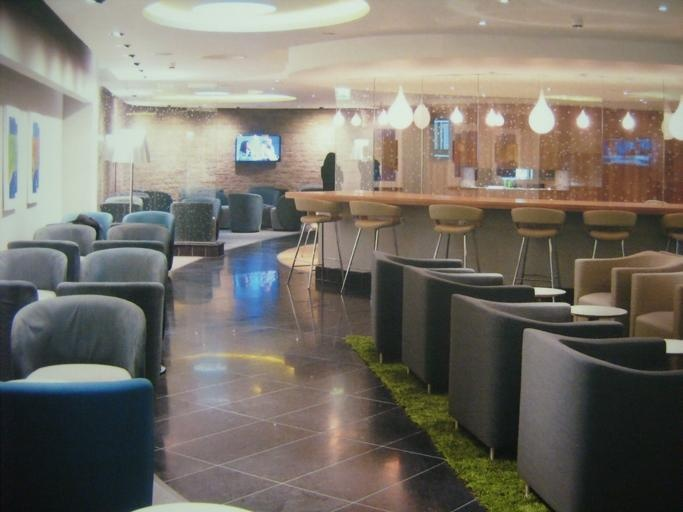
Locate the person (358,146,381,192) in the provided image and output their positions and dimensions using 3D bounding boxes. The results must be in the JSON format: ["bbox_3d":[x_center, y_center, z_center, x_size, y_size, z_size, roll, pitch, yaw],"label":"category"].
[{"bbox_3d":[0.530,-1.775,11.125,0.454,0.882,0.171,0,10,0],"label":"person"}]
